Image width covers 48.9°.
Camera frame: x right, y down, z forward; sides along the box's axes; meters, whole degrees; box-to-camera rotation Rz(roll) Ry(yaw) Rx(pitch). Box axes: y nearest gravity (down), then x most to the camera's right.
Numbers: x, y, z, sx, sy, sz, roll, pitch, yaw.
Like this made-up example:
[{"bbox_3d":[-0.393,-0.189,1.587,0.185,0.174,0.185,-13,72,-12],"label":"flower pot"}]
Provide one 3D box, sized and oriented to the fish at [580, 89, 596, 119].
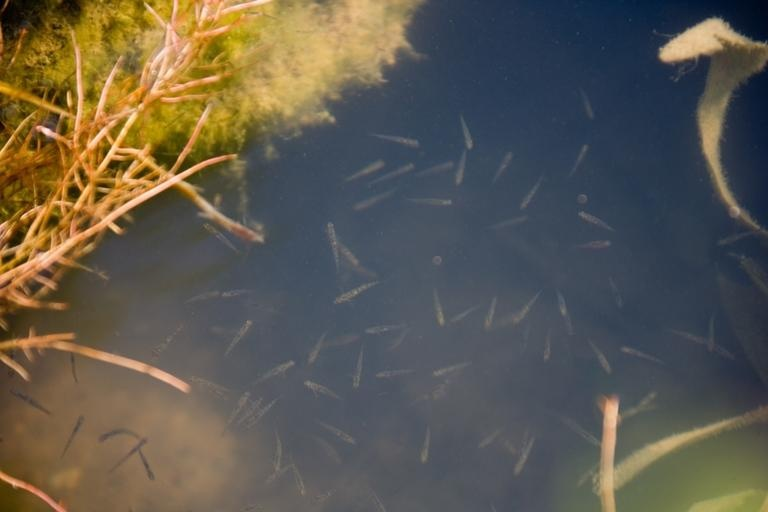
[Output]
[{"bbox_3d":[0.986,-0.728,4.090,0.022,0.179,0.041,-6,-9,-42],"label":"fish"}]
